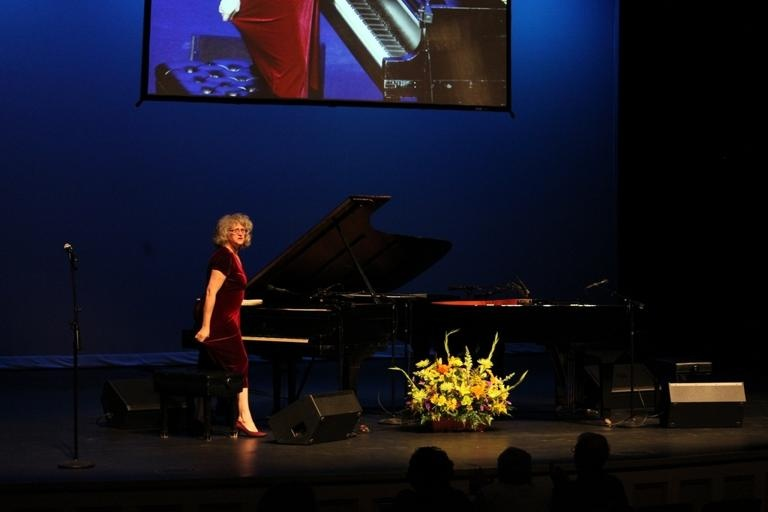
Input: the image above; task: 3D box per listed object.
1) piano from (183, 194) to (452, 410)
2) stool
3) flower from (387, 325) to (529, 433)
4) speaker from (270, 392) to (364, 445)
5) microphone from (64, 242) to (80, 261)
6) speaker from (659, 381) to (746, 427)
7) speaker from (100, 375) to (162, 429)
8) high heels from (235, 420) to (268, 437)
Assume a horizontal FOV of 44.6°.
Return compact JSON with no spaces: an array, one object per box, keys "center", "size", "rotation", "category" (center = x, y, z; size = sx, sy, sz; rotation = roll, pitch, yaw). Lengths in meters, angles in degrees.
[{"center":[-0.866,0.533,10.160],"size":[2.276,1.899,2.858],"rotation":[-4,-5,37],"category":"piano"},{"center":[-1.770,1.477,9.313],"size":[0.781,0.646,0.743],"rotation":[-2,-9,27],"category":"stool"},{"center":[1.002,1.282,9.562],"size":[0.859,0.824,1.106],"rotation":[15,3,-15],"category":"flower"},{"center":[-0.646,1.524,8.877],"size":[0.614,0.378,0.634],"rotation":[5,-2,25],"category":"speaker"},{"center":[-3.577,-0.052,10.741],"size":[0.137,0.239,0.200],"rotation":[-16,1,-2],"category":"microphone"},{"center":[3.217,1.488,9.379],"size":[0.828,0.419,0.470],"rotation":[0,1,2],"category":"speaker"},{"center":[-2.572,1.463,9.425],"size":[0.524,0.371,0.589],"rotation":[24,6,39],"category":"speaker"},{"center":[-1.316,1.713,9.204],"size":[0.386,0.147,0.120],"rotation":[3,-8,2],"category":"high heels"}]
